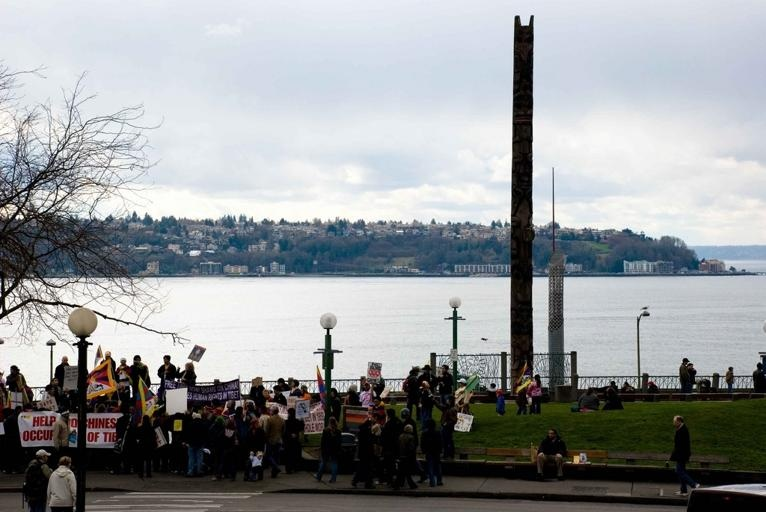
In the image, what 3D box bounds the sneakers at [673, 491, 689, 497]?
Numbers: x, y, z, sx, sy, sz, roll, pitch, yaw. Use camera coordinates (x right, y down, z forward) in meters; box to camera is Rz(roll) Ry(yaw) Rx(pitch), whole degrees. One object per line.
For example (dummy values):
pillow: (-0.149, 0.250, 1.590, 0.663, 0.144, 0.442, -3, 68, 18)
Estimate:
sneakers: (12.645, 10.056, 62.989, 0.570, 0.216, 0.224, 3, 1, 27)
